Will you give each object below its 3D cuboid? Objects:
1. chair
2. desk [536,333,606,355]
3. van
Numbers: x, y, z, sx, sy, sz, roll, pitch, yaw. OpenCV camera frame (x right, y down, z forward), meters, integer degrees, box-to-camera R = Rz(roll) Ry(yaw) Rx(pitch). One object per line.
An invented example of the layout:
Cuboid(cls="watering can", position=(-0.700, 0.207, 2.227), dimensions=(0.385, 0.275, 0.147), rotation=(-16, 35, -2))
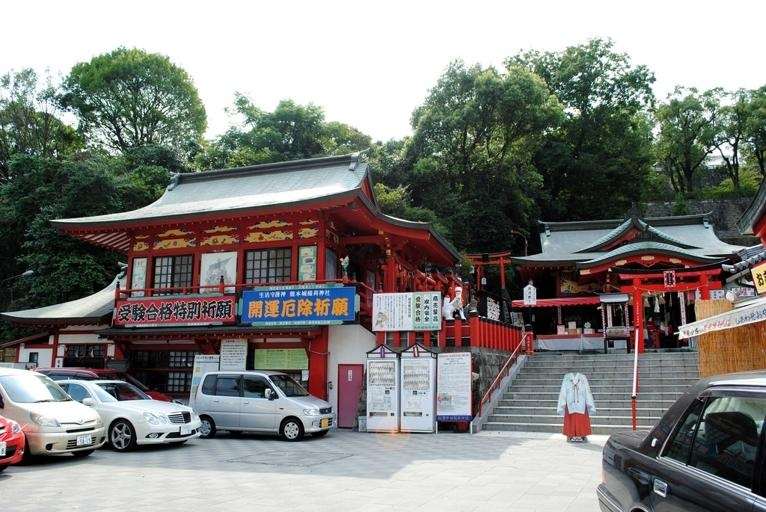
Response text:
Cuboid(cls="chair", position=(4.392, 2.463, 7.439), dimensions=(0.644, 0.829, 0.312), rotation=(8, -20, 39))
Cuboid(cls="desk", position=(9.724, 4.527, 30.625), dimensions=(3.347, 0.824, 1.205), rotation=(0, -4, 4))
Cuboid(cls="van", position=(-3.713, 4.762, 18.783), dimensions=(4.011, 1.676, 2.105), rotation=(-5, -14, 13))
